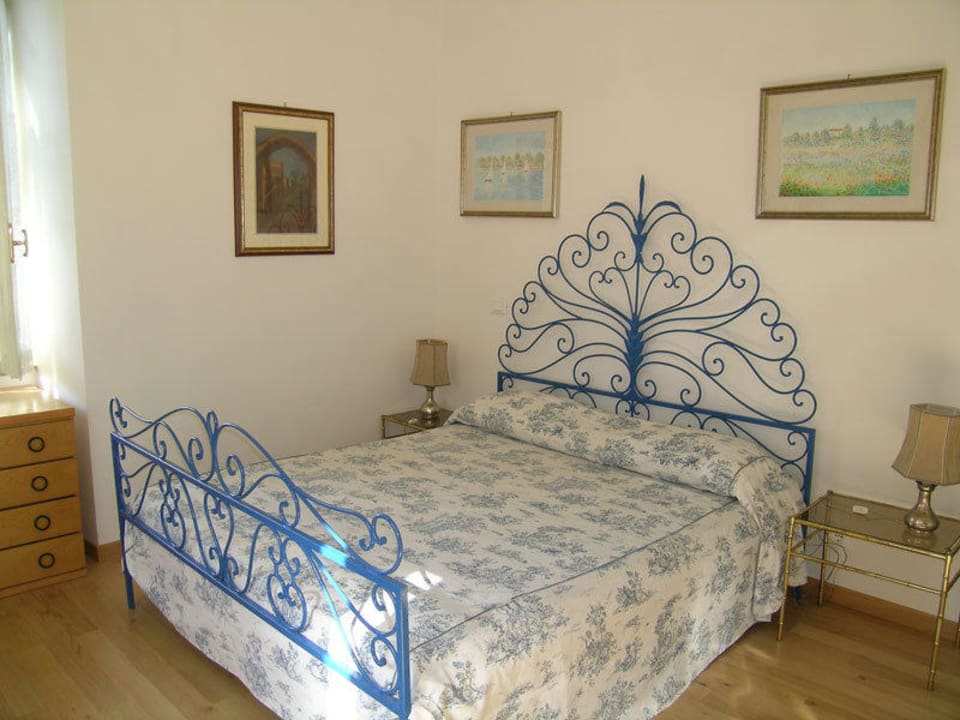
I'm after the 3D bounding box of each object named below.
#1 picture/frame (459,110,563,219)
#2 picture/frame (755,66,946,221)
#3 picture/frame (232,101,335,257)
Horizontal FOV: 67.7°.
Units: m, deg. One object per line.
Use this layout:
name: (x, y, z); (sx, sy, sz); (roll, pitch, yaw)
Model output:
picture/frame: (0.229, -1.278, 4.613); (0.667, 0.591, 0.067); (9, 16, 38)
picture/frame: (1.823, -1.060, 3.460); (0.733, 0.632, 0.027); (7, 12, 40)
picture/frame: (-1.215, -1.128, 4.341); (0.829, 1.193, 0.080); (-8, 16, -42)
